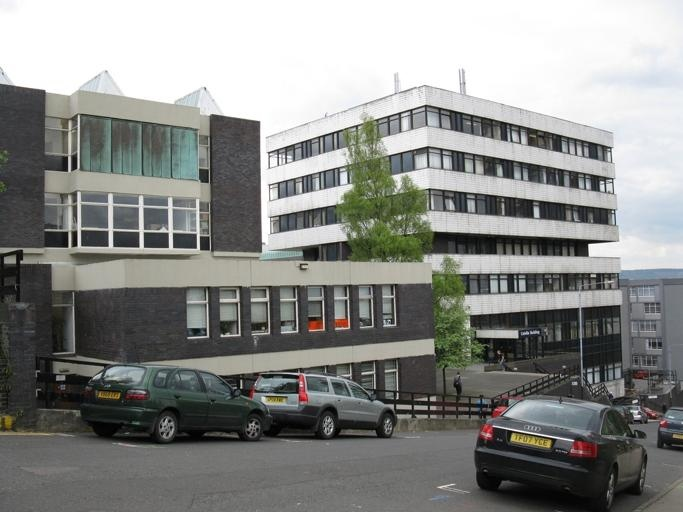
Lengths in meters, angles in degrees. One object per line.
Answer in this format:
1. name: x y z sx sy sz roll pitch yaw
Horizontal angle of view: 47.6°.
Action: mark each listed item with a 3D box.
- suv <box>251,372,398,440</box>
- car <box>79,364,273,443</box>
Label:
1. suv: -0.498 4.658 24.789 2.030 1.590 4.216 -7 -9 41
2. car: -4.422 3.910 21.052 2.092 1.579 4.193 -6 -8 41
